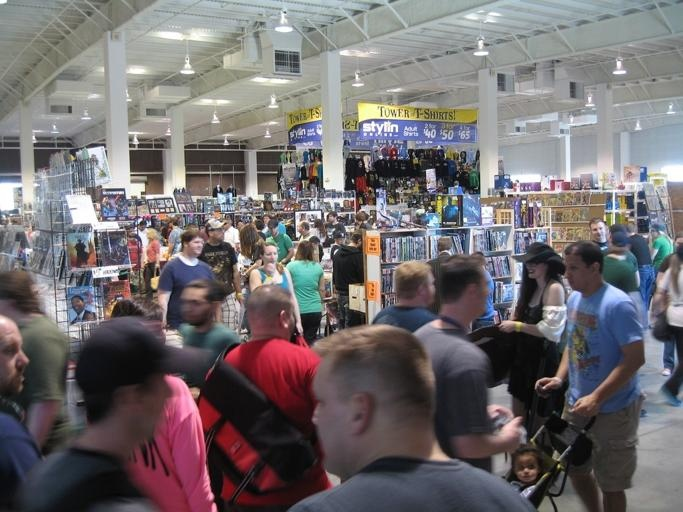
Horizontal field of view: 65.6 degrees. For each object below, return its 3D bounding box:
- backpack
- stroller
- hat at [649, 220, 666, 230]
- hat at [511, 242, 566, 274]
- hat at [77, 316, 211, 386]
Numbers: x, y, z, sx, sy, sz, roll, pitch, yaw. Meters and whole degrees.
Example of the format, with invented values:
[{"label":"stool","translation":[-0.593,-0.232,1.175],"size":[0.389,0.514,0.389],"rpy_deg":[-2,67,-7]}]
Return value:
[{"label":"backpack","translation":[-0.343,0.709,2.304],"size":[0.508,0.682,0.277],"rpy_deg":[-1,0,17]},{"label":"stroller","translation":[1.257,1.348,3.273],"size":[0.478,0.695,1.044],"rpy_deg":[-1,0,17]},{"label":"hat","translation":[6.459,-0.644,10.966],"size":[0.314,0.166,0.431],"rpy_deg":[1,-6,12]},{"label":"hat","translation":[1.395,0.024,3.686],"size":[0.244,0.110,0.197],"rpy_deg":[16,-7,-14]},{"label":"hat","translation":[-0.478,0.232,1.278],"size":[0.238,0.128,0.150],"rpy_deg":[-12,20,-21]}]
